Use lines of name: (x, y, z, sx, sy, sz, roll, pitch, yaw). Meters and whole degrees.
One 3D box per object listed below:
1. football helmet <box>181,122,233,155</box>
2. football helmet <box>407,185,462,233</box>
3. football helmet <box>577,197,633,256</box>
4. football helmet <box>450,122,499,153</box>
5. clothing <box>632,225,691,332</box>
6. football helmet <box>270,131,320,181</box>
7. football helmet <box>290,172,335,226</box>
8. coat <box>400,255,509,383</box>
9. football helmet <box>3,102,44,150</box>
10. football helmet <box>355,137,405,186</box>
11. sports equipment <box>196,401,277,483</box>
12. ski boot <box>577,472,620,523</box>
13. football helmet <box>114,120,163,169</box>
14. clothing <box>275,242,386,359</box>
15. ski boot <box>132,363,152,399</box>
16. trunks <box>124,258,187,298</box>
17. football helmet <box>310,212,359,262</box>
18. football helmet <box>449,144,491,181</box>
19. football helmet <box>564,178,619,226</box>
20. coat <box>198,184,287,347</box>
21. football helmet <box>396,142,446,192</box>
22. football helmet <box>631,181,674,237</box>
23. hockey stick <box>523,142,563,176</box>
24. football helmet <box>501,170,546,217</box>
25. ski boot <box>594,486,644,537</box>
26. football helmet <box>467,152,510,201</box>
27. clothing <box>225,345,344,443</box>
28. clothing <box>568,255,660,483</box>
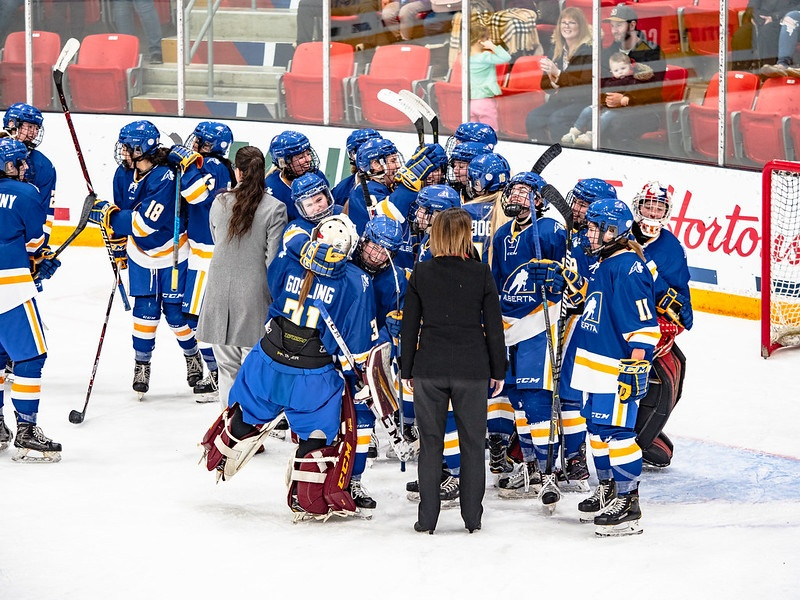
football helmet: (-1.526, -1.297, 7.859, 0.322, 0.310, 0.275, 14, 11, -4)
football helmet: (0.227, -0.573, 6.193, 0.303, 0.304, 0.286, 2, 5, 20)
football helmet: (1.187, -0.425, 5.662, 0.298, 0.316, 0.241, -2, 8, 5)
football helmet: (0.567, -1.248, 7.397, 0.336, 0.268, 0.260, 5, 11, 7)
clothing: (1.727, -0.115, 6.275, 0.492, 0.613, 0.217, -5, 2, -29)
football helmet: (-0.791, -1.044, 7.012, 0.347, 0.348, 0.279, 7, 33, 16)
football helmet: (-0.577, -0.685, 6.319, 0.235, 0.314, 0.320, -22, 23, -4)
coat: (0.298, 0.130, 5.617, 0.683, 0.779, 0.372, 2, 18, 9)
football helmet: (-2.886, -1.373, 7.798, 0.386, 0.384, 0.293, 4, 3, 14)
football helmet: (-0.149, -1.026, 7.235, 0.362, 0.378, 0.289, -6, 17, 6)
sports equipment: (-0.970, 0.833, 6.015, 0.371, 0.507, 0.187, 40, 14, 13)
ski boot: (1.217, 1.179, 5.914, 0.383, 0.185, 0.117, -9, 16, -37)
football helmet: (-2.012, -1.241, 7.615, 0.349, 0.319, 0.293, 4, 23, 1)
clothing: (-0.424, 0.008, 5.785, 0.507, 0.458, 0.272, 23, 49, 21)
ski boot: (-2.103, 0.656, 8.020, 0.102, 0.136, 0.317, 1, 45, -13)
trunks: (-1.991, -0.148, 8.091, 0.538, 0.481, 0.305, 1, 3, -3)
football helmet: (-0.365, -0.395, 5.776, 0.226, 0.254, 0.240, 17, 19, -6)
football helmet: (0.493, -0.956, 6.825, 0.273, 0.259, 0.222, 4, 10, 10)
football helmet: (1.231, -0.610, 6.331, 0.243, 0.304, 0.279, 8, -24, -24)
coat: (-1.128, -0.232, 6.835, 0.531, 1.075, 0.347, 10, 16, -4)
football helmet: (0.155, -0.933, 6.986, 0.258, 0.362, 0.128, 40, 9, 3)
football helmet: (1.599, -0.533, 6.257, 0.268, 0.356, 0.377, 8, -7, 15)
hockey stick: (0.975, -0.932, 6.510, 0.153, 0.204, 0.411, 1, 5, 13)
football helmet: (0.787, -0.670, 6.152, 0.313, 0.311, 0.249, 6, -6, -14)
ski boot: (1.267, 1.238, 5.683, 0.310, 0.224, 0.116, -2, 8, -22)
football helmet: (0.597, -0.826, 6.527, 0.268, 0.298, 0.302, 0, 5, 5)
clothing: (-0.674, 0.522, 5.910, 0.696, 0.602, 0.321, 16, 31, 2)
clothing: (1.257, 0.403, 5.724, 0.279, 1.386, 0.466, -5, 7, -41)
